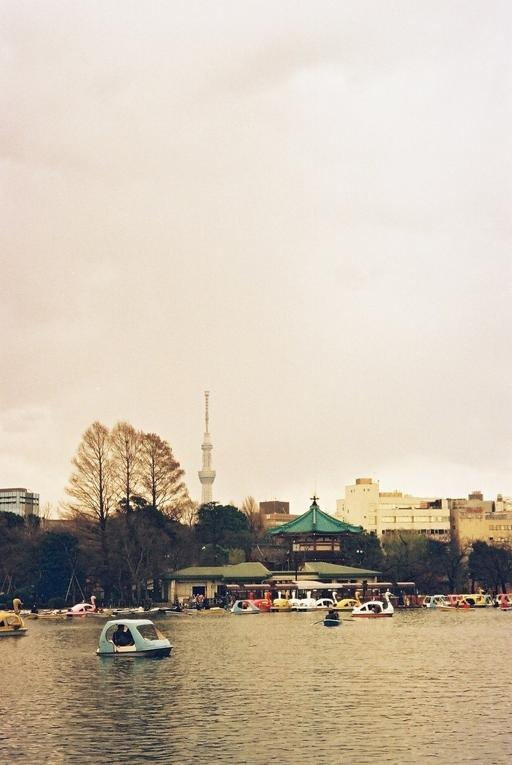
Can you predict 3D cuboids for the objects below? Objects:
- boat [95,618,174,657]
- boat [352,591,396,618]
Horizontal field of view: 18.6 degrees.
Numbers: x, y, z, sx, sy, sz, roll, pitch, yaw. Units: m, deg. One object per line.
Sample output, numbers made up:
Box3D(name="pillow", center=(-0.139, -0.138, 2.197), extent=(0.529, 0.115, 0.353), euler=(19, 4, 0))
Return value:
Box3D(name="boat", center=(-4.880, 10.012, 61.344), extent=(2.428, 1.636, 1.852), euler=(-7, -10, 27))
Box3D(name="boat", center=(7.710, 14.821, 102.683), extent=(2.584, 2.293, 2.151), euler=(-3, -4, 3))
